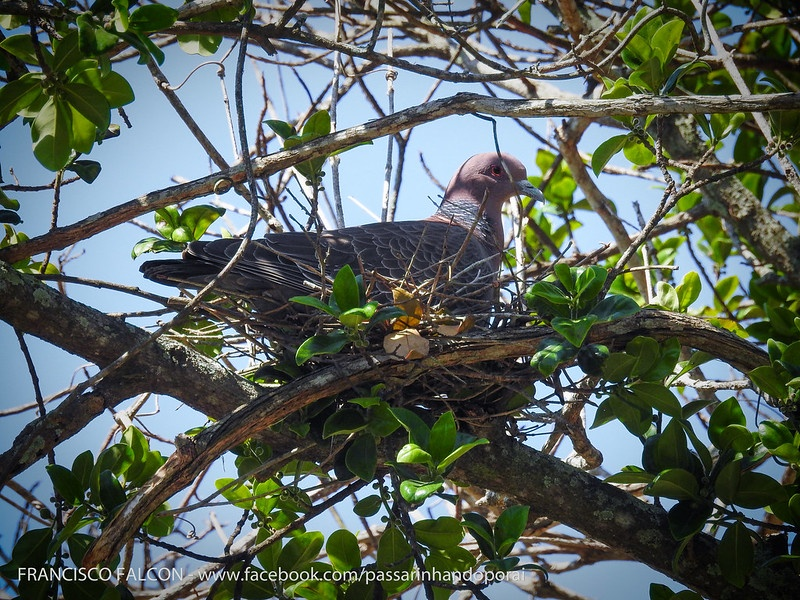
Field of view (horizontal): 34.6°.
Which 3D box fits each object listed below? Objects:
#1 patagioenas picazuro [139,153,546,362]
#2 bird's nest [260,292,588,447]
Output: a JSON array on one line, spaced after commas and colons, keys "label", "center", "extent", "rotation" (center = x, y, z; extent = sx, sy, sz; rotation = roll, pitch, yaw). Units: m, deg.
[{"label": "patagioenas picazuro", "center": [-0.191, -0.167, 5.875], "extent": [1.838, 0.577, 1.073], "rotation": [1, -101, -13]}, {"label": "bird's nest", "center": [0.107, 0.273, 5.137], "extent": [0.888, 0.465, 0.499], "rotation": [18, -58, -1]}]
